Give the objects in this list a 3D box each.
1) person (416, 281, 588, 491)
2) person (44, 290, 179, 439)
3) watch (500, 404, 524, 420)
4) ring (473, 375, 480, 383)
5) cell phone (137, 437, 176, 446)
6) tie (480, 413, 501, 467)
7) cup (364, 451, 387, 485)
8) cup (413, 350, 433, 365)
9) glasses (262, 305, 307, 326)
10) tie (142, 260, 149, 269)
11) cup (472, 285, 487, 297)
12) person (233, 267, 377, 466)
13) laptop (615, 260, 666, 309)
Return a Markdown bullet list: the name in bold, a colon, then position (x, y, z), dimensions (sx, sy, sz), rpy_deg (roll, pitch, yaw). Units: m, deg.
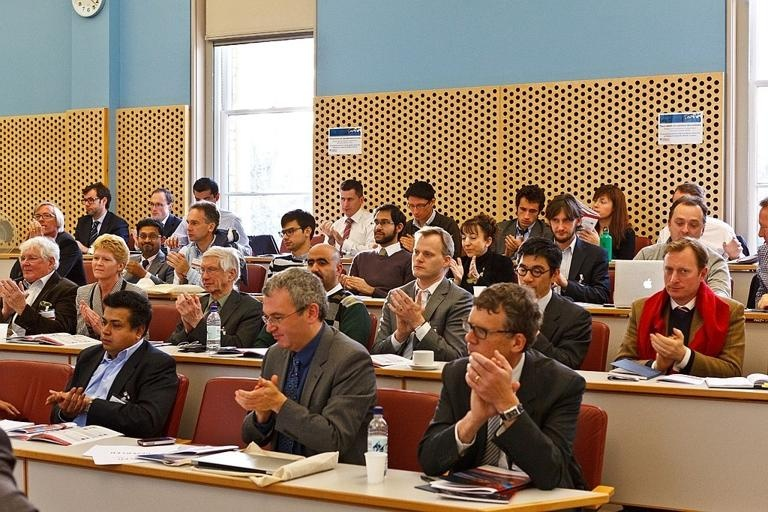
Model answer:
- **person**: position (0.491, 0.540, 2.718), dimensions (0.702, 0.839, 0.501), rpy_deg (-1, 0, 6)
- **person**: position (-1.615, 0.663, 3.891), dimensions (0.543, 1.103, 0.578), rpy_deg (-8, -23, 21)
- **watch**: position (0.497, 0.608, 2.533), dimensions (0.075, 0.053, 0.085), rpy_deg (-16, -5, 11)
- **ring**: position (0.357, 0.472, 2.509), dimensions (0.024, 0.025, 0.007), rpy_deg (4, -7, 13)
- **cell phone**: position (-1.020, 0.831, 2.894), dimensions (0.173, 0.019, 0.113), rpy_deg (-1, -1, -10)
- **tie**: position (0.447, 0.773, 2.709), dimensions (0.050, 0.186, 0.141), rpy_deg (3, 10, 9)
- **cup**: position (-0.031, 0.802, 2.476), dimensions (0.098, 0.102, 0.102), rpy_deg (0, -6, 0)
- **cup**: position (0.230, 0.588, 3.808), dimensions (0.081, 0.064, 0.084), rpy_deg (2, -4, 0)
- **glasses**: position (-0.458, 0.275, 3.126), dimensions (0.141, 0.047, 0.148), rpy_deg (-13, -2, 42)
- **tie**: position (-2.564, 0.082, 6.999), dimensions (0.059, 0.067, 0.086), rpy_deg (0, -7, -6)
- **cup**: position (0.584, 0.212, 3.980), dimensions (0.111, 0.090, 0.103), rpy_deg (0, -3, 0)
- **person**: position (-0.345, 0.517, 3.086), dimensions (0.609, 0.937, 0.489), rpy_deg (-1, 0, -2)
- **laptop**: position (1.870, 0.180, 4.868), dimensions (0.392, 0.408, 0.317), rpy_deg (0, 0, 10)
